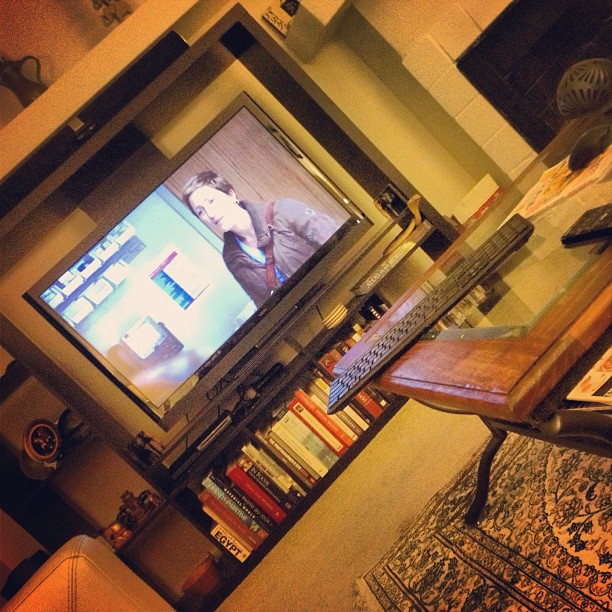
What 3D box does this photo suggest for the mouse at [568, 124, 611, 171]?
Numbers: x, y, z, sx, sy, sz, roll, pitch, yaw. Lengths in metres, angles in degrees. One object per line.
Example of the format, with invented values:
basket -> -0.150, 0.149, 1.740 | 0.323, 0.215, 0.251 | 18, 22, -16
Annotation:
mouse -> 0.922, -0.502, 2.226 | 0.184, 0.096, 0.047 | -48, -22, -14

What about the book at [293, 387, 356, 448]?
book -> 0.091, 0.503, 3.082 | 0.058, 0.252, 0.249 | -43, -6, -3

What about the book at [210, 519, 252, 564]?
book -> -0.341, 1.057, 3.107 | 0.043, 0.184, 0.184 | -48, 3, -12

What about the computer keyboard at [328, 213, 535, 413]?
computer keyboard -> 0.362, 0.026, 2.059 | 0.815, 0.075, 0.230 | -42, 4, 0

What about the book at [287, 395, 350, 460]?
book -> 0.063, 0.525, 2.948 | 0.062, 0.267, 0.267 | -45, 0, -3

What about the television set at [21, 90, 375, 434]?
television set -> -0.547, -0.150, 3.170 | 1.405, 0.975, 0.137 | -45, 0, -8

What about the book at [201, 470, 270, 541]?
book -> -0.315, 0.898, 3.048 | 0.069, 0.300, 0.296 | -49, 28, -5

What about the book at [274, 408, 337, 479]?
book -> 0.012, 0.616, 3.076 | 0.067, 0.276, 0.278 | -43, -36, -1
